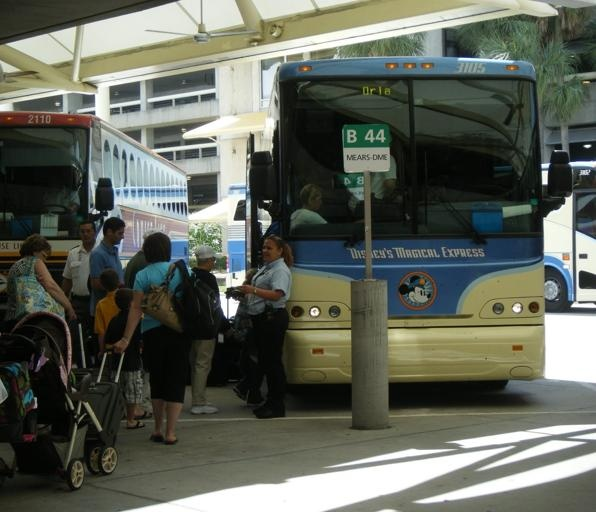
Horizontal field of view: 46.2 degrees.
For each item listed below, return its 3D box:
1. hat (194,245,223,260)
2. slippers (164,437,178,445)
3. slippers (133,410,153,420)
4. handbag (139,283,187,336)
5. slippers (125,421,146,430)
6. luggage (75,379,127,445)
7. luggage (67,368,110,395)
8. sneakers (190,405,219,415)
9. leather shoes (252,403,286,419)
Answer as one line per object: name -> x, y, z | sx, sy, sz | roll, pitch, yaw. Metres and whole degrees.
hat -> -1.025, -0.013, 8.136 | 0.278, 0.123, 0.197 | 0, 19, -16
slippers -> -1.228, 1.787, 6.801 | 0.131, 0.067, 0.103 | -1, -2, -15
slippers -> -1.802, 1.854, 8.166 | 0.225, 0.066, 0.088 | 1, 11, 1
handbag -> -1.272, 0.507, 6.620 | 0.364, 0.415, 0.144 | -24, 2, -32
slippers -> -1.768, 1.852, 7.683 | 0.149, 0.057, 0.082 | -1, 4, -28
luggage -> -1.655, 1.267, 5.945 | 0.326, 0.578, 0.498 | 7, -16, -14
luggage -> -1.749, 1.008, 5.744 | 0.259, 0.267, 0.268 | 1, -7, 4
sneakers -> -1.112, 1.841, 8.350 | 0.308, 0.143, 0.118 | -1, 0, -12
leather shoes -> -0.317, 1.775, 7.992 | 0.306, 0.224, 0.164 | 5, -4, -4
